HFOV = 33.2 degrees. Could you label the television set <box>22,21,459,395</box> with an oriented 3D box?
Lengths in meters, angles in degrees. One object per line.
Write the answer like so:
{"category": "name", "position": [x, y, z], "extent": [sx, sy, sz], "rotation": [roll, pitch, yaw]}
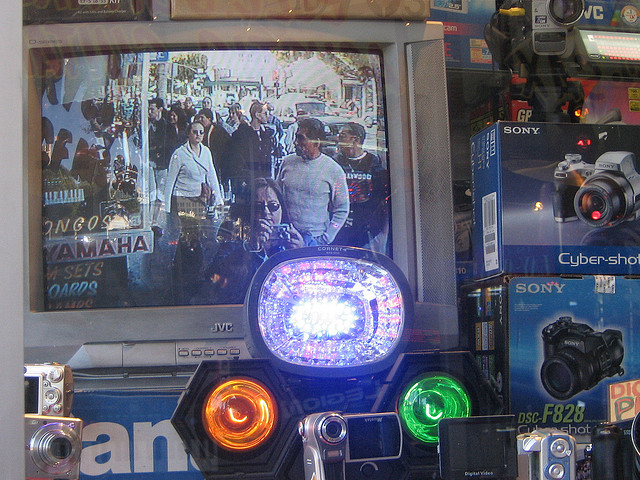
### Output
{"category": "television set", "position": [-0.291, -0.019, 3.208], "extent": [1.133, 1.041, 0.646], "rotation": [-2, -16, -12]}

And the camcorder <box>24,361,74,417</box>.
{"category": "camcorder", "position": [-0.697, 0.384, 2.788], "extent": [0.150, 0.158, 0.094], "rotation": [0, 11, 1]}
